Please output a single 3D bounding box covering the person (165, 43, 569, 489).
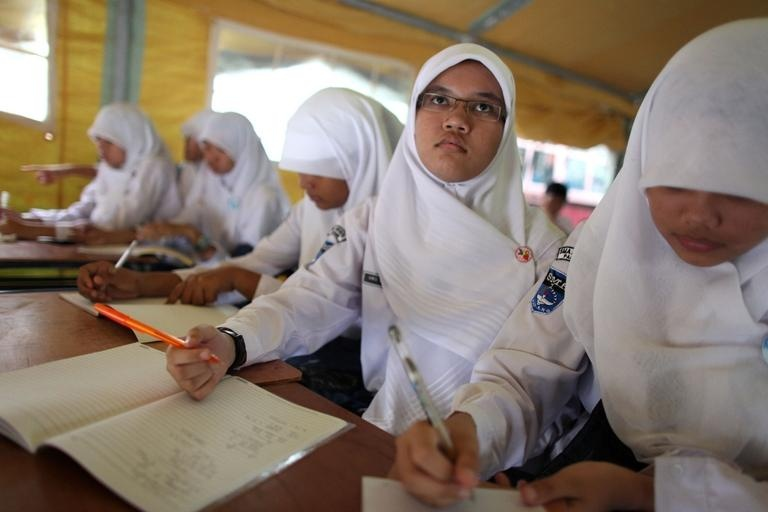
[{"bbox_3d":[-0.066,0.156,2.349,1.175,1.267,1.587,2,5,-30],"label":"person"}]
